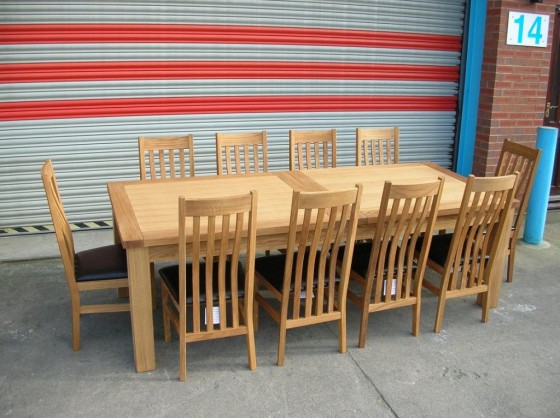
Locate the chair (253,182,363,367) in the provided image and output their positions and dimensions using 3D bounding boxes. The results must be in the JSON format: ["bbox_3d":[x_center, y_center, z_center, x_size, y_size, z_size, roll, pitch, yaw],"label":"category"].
[{"bbox_3d":[0.197,0.383,3.103,0.829,1.264,0.783,-5,22,-5],"label":"chair"}]

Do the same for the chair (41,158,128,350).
[{"bbox_3d":[-1.356,0.337,3.059,0.480,1.259,0.710,-12,23,-20],"label":"chair"}]

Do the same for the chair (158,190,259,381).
[{"bbox_3d":[-0.483,0.435,2.896,0.713,1.263,0.645,-10,23,-16],"label":"chair"}]
